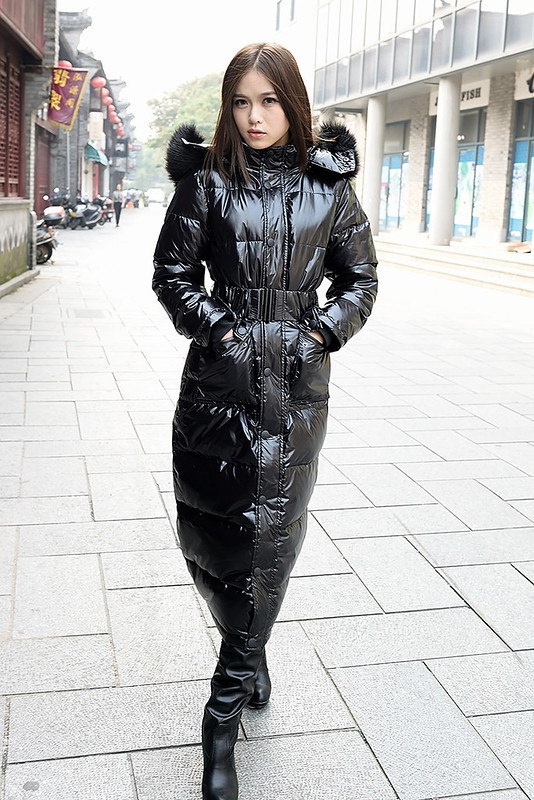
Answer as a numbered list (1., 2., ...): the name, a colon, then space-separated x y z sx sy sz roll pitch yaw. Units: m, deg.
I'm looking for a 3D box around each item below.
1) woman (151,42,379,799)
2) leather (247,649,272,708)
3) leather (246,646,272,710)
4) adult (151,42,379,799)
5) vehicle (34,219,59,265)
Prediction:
1. woman: 0.025 0.042 1.426 0.471 1.562 0.453 -3 13 -28
2. leather: -0.015 0.756 1.745 0.074 0.136 0.204 0 -3 1
3. leather: -0.004 0.758 1.738 0.076 0.151 0.221 0 -7 3
4. adult: 0.025 0.042 1.426 0.471 1.562 0.453 -3 13 -28
5. vehicle: -4.945 -3.547 14.467 0.416 1.036 1.368 -1 11 -19
